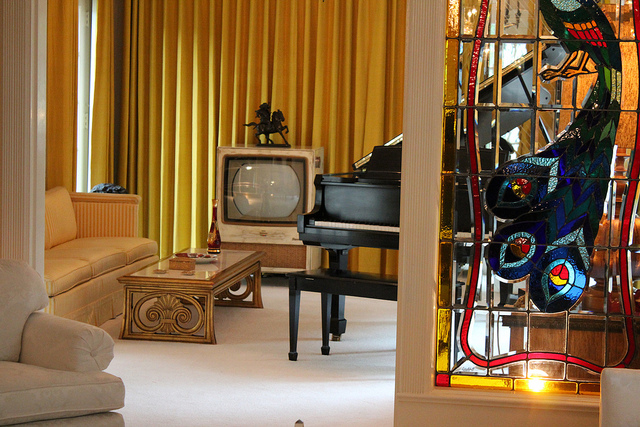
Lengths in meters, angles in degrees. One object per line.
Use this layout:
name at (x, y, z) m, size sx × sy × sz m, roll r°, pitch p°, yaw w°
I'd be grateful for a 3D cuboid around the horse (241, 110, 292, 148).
horse at (-0.558, -0.868, 7.948) m, size 0.489 × 0.362 × 0.608 m, roll 1°, pitch 11°, yaw -6°

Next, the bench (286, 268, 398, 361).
bench at (0.301, 0.817, 5.797) m, size 1.037 × 0.707 × 0.633 m, roll 4°, pitch 1°, yaw 25°

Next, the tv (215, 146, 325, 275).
tv at (-0.544, 0.010, 8.095) m, size 1.007 × 1.392 × 0.723 m, roll 2°, pitch 3°, yaw 2°

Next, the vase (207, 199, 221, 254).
vase at (-0.941, 0.115, 6.825) m, size 0.105 × 0.486 × 0.169 m, roll 1°, pitch 11°, yaw -7°

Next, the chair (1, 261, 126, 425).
chair at (-1.374, 0.662, 4.437) m, size 0.786 × 0.860 × 0.829 m, roll 2°, pitch 1°, yaw -8°

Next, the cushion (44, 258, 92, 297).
cushion at (-1.928, 0.462, 5.828) m, size 0.346 × 0.087 × 0.367 m, roll 6°, pitch 9°, yaw 28°

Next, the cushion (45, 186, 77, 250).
cushion at (-2.257, 0.062, 6.696) m, size 0.190 × 0.365 × 0.487 m, roll 5°, pitch 7°, yaw 9°
